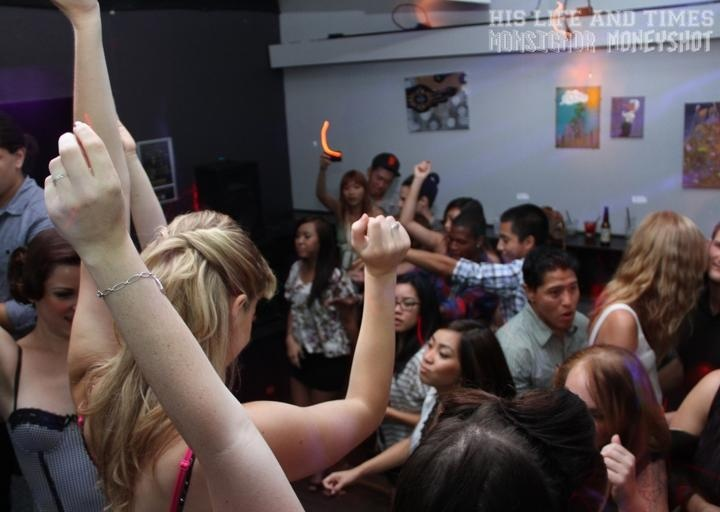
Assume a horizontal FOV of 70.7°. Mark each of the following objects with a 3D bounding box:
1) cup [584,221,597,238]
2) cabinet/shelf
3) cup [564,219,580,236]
[{"bbox_3d":[2.188,-0.255,4.804,0.132,0.169,0.139,1,10,0],"label":"cup"},{"bbox_3d":[1.876,0.077,3.938,0.532,0.552,0.291,2,9,19],"label":"cabinet/shelf"},{"bbox_3d":[2.047,-0.273,4.888,0.139,0.194,0.183,-1,-5,7],"label":"cup"}]
